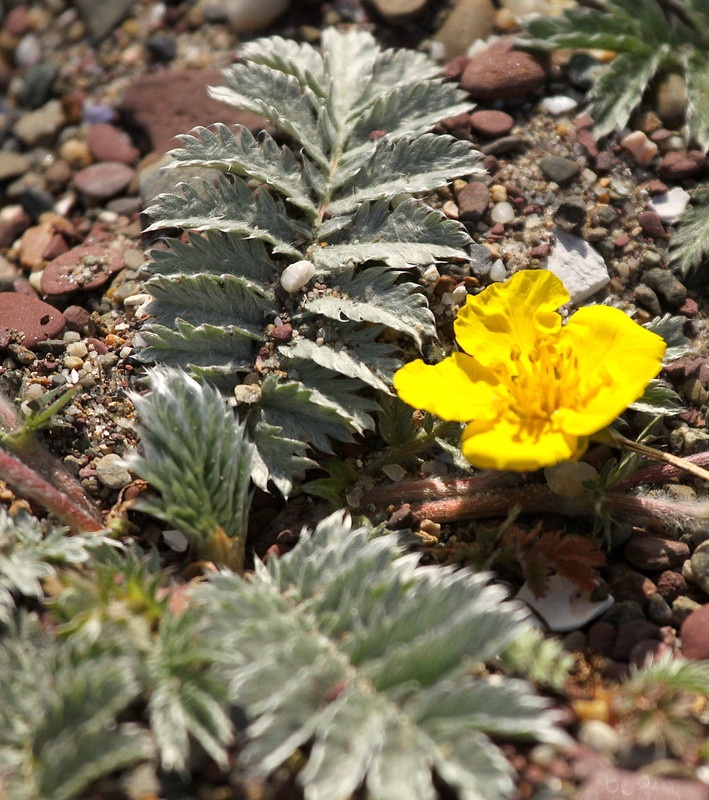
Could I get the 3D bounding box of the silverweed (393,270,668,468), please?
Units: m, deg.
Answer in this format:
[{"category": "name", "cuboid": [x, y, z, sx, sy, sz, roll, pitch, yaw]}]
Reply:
[{"category": "silverweed", "cuboid": [0.519, -0.027, 2.186, 0.626, 0.245, 0.575, 16, 64, 35]}]
